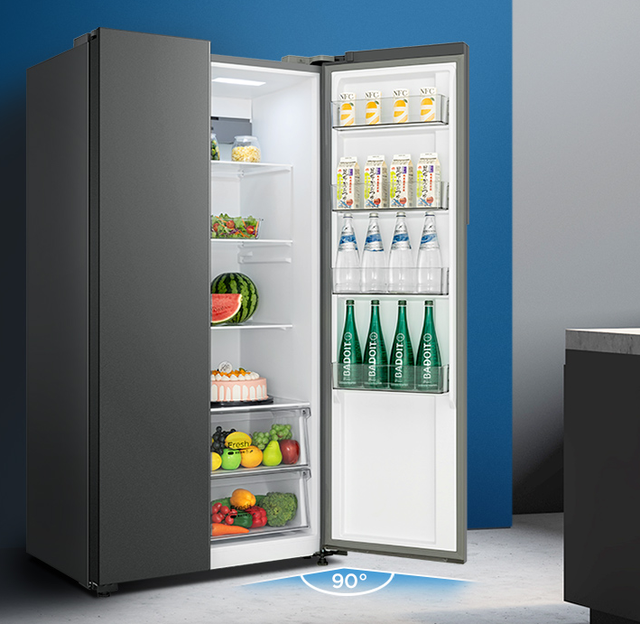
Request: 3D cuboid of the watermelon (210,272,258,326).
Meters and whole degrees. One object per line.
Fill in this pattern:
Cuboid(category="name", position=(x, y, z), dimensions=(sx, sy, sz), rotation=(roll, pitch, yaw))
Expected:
Cuboid(category="watermelon", position=(-0.330, -0.053, 2.669), dimensions=(0.201, 0.235, 0.197), rotation=(-1, -3, -9))

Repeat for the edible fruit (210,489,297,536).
Cuboid(category="edible fruit", position=(-0.266, 0.775, 2.563), dimensions=(0.275, 0.153, 0.096), rotation=(-1, -22, -31))

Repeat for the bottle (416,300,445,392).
Cuboid(category="bottle", position=(0.409, 0.122, 2.443), dimensions=(0.095, 0.340, 0.052), rotation=(0, -5, 7))

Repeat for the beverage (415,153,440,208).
Cuboid(category="beverage", position=(0.398, -0.486, 2.425), dimensions=(0.090, 0.208, 0.053), rotation=(0, -5, 9))

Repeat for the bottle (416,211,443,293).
Cuboid(category="bottle", position=(0.410, -0.221, 2.433), dimensions=(0.092, 0.310, 0.102), rotation=(0, -5, 10))

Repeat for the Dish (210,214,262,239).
Cuboid(category="Dish", position=(-0.338, -0.329, 2.549), dimensions=(0.152, 0.056, 0.104), rotation=(0, 2, -9))

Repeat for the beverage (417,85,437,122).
Cuboid(category="beverage", position=(0.401, -0.765, 2.419), dimensions=(0.064, 0.161, 0.113), rotation=(0, -5, 8))
